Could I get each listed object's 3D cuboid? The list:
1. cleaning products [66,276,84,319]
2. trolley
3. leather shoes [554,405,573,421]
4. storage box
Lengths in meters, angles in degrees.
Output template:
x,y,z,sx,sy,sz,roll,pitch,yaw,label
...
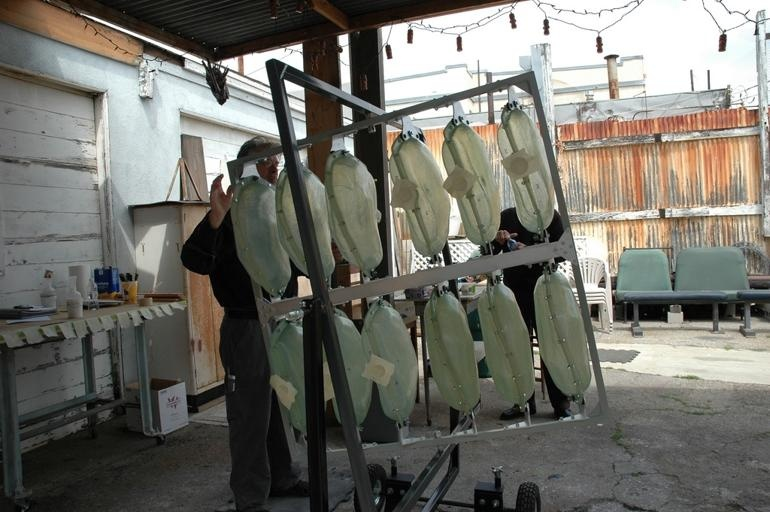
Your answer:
x,y,z,sx,sy,sz,roll,pitch,yaw,label
-3.031,0.389,5.879,0.126,0.438,0.437,-6,2,-28,cleaning products
-0.065,0.352,4.230,1.581,2.857,0.975,-6,2,-10,trolley
1.844,1.635,6.289,0.174,0.109,0.370,-5,1,15,leather shoes
-2.460,1.529,6.736,0.719,0.705,0.531,-1,0,16,storage box
